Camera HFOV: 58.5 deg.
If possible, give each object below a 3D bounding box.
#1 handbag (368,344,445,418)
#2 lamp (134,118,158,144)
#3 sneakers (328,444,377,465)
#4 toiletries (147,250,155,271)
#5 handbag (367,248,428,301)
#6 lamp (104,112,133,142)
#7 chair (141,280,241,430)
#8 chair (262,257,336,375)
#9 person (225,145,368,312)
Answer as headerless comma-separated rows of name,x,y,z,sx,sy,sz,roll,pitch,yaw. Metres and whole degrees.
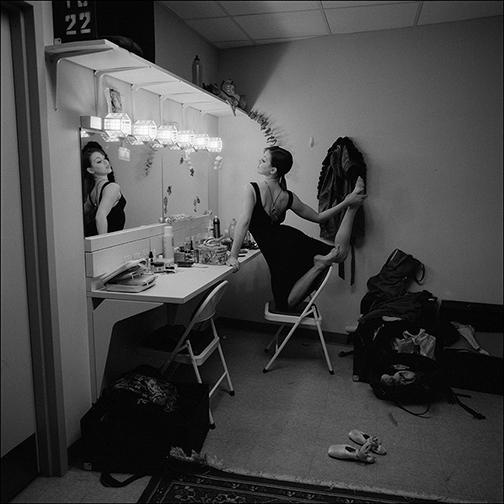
handbag,0.880,0.733,2.597,0.393,0.266,0.289,5,10,26
lamp,-0.581,-0.660,2.486,0.120,0.113,0.176,3,10,16
sneakers,0.461,0.922,2.092,0.176,0.044,0.085,1,6,22
toiletries,-0.608,0.052,2.703,0.032,0.104,0.071,4,0,-14
handbag,1.015,0.173,3.163,0.334,0.351,0.110,39,9,16
lamp,-0.654,-0.608,2.184,0.129,0.129,0.125,-3,10,-18
chair,-0.245,0.481,2.693,0.593,1.100,0.536,6,7,14
chair,0.294,0.426,3.370,0.566,1.061,0.583,4,3,5
person,0.339,-0.168,3.467,0.994,1.324,0.475,0,-12,18
